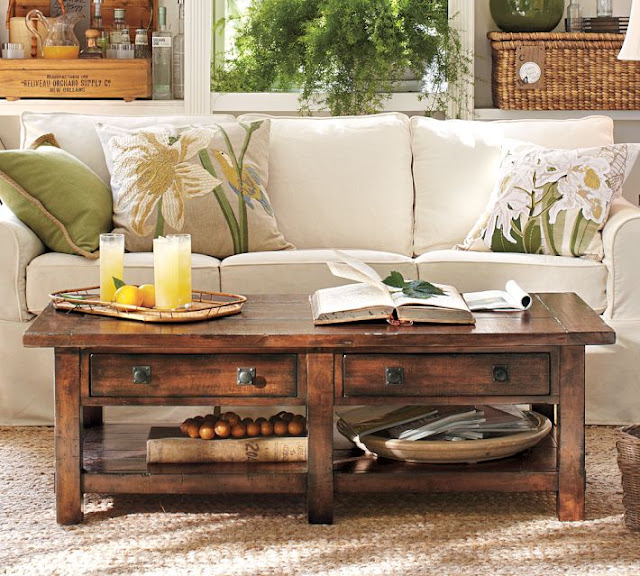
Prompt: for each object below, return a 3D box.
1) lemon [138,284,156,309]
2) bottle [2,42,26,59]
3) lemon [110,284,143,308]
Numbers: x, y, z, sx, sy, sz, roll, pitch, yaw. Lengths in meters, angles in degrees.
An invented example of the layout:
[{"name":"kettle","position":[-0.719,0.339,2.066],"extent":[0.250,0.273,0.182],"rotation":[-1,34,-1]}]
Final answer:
[{"name":"lemon","position":[-0.409,0.020,1.761],"extent":[0.059,0.050,0.051],"rotation":[-1,4,1]},{"name":"bottle","position":[-1.496,-1.160,3.511],"extent":[0.095,0.072,0.090],"rotation":[1,7,0]},{"name":"lemon","position":[-0.456,0.023,1.700],"extent":[0.061,0.043,0.047],"rotation":[1,0,38]}]
